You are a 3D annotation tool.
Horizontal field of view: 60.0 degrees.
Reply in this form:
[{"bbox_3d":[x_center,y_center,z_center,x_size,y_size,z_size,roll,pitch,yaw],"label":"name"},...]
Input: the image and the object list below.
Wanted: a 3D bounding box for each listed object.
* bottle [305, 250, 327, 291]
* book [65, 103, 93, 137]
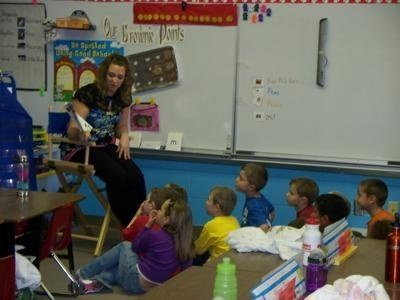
[{"bbox_3d":[0.433,0.448,1.284,0.075,0.165,0.120,4,1,22],"label":"bottle"},{"bbox_3d":[-1.050,-0.270,3.024,0.150,0.278,0.128,-23,30,11],"label":"book"}]
